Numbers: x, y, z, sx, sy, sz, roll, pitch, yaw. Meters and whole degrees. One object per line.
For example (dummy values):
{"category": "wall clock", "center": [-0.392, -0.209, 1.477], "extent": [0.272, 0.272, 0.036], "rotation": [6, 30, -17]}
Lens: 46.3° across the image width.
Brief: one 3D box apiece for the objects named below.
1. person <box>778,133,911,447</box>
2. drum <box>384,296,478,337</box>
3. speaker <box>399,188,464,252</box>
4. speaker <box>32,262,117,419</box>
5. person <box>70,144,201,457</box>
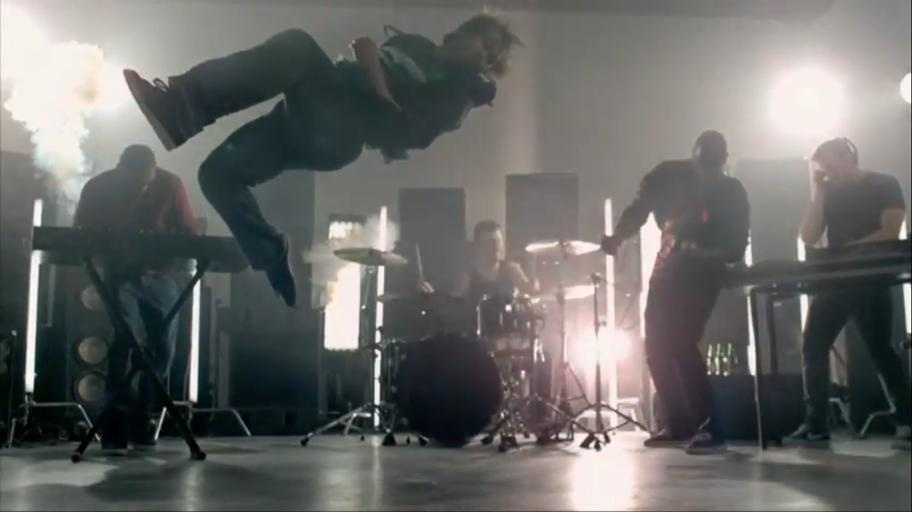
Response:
{"category": "person", "center": [4.153, 0.355, 11.246], "extent": [1.192, 3.235, 0.536], "rotation": [1, 3, 16]}
{"category": "drum", "center": [-0.314, 0.708, 12.208], "extent": [1.201, 0.544, 0.867], "rotation": [0, 0, 19]}
{"category": "speaker", "center": [-0.326, -0.523, 14.156], "extent": [0.657, 1.137, 0.521], "rotation": [2, 0, -39]}
{"category": "speaker", "center": [-4.431, 1.034, 12.912], "extent": [0.817, 2.613, 0.775], "rotation": [1, -3, 35]}
{"category": "person", "center": [-3.283, 0.409, 11.262], "extent": [1.202, 3.209, 1.180], "rotation": [-1, -2, 36]}
